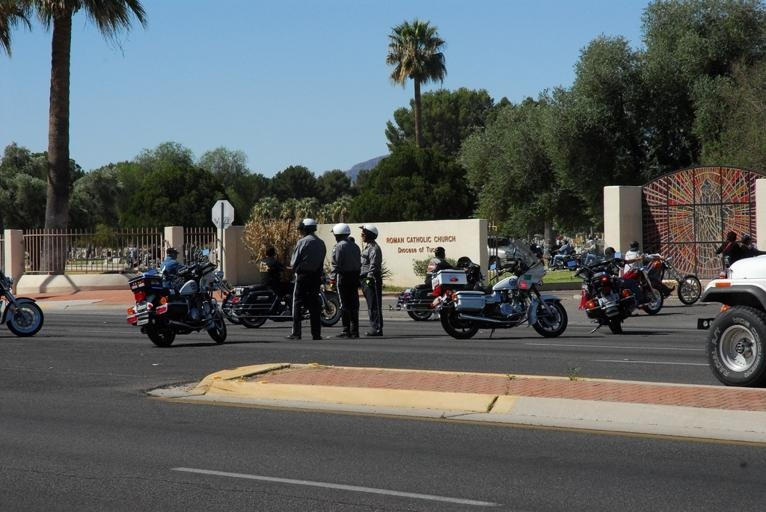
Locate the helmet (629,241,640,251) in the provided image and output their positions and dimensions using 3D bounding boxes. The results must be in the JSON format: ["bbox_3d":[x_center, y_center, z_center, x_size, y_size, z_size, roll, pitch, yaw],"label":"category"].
[{"bbox_3d":[7.119,-0.284,24.436,0.230,0.287,0.296,3,11,15],"label":"helmet"}]

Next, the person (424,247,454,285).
[{"bbox_3d":[1.418,0.285,21.253,0.664,0.998,0.725,0,0,-20],"label":"person"}]

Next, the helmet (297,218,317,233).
[{"bbox_3d":[-1.699,-0.691,19.085,0.283,0.356,0.355,-8,12,-42],"label":"helmet"}]

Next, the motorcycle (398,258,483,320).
[{"bbox_3d":[1.762,0.824,23.484,2.681,1.720,1.145,-6,0,-17],"label":"motorcycle"}]

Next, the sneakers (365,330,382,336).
[{"bbox_3d":[-0.185,1.759,19.496,0.328,0.166,0.140,4,7,-5],"label":"sneakers"}]

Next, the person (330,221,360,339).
[{"bbox_3d":[-0.801,0.539,19.325,0.607,2.508,0.789,-1,5,-1],"label":"person"}]

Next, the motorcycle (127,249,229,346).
[{"bbox_3d":[-4.400,0.882,18.821,1.132,2.034,3.100,-13,-4,19],"label":"motorcycle"}]

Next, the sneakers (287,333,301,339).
[{"bbox_3d":[-1.918,1.748,18.652,0.260,0.127,0.111,5,6,16],"label":"sneakers"}]

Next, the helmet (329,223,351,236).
[{"bbox_3d":[-0.980,-0.590,19.225,0.441,0.406,0.345,3,6,40],"label":"helmet"}]

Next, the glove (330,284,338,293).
[{"bbox_3d":[-1.208,0.828,21.386,0.252,0.212,0.267,-1,7,1],"label":"glove"}]

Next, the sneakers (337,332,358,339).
[{"bbox_3d":[-0.778,1.772,19.196,0.453,0.215,0.179,3,-2,-6],"label":"sneakers"}]

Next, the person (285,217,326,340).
[{"bbox_3d":[-1.642,0.499,18.829,0.785,2.651,0.813,4,-9,-27],"label":"person"}]

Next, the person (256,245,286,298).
[{"bbox_3d":[-2.713,0.392,21.660,0.554,1.247,1.250,-1,5,-8],"label":"person"}]

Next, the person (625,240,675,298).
[{"bbox_3d":[7.741,0.386,24.573,1.075,1.271,1.986,21,-8,-11],"label":"person"}]

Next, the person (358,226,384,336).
[{"bbox_3d":[-0.270,0.566,19.892,0.485,2.470,1.385,-1,5,-2],"label":"person"}]

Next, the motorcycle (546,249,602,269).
[{"bbox_3d":[5.880,0.082,26.992,1.637,1.043,0.935,-1,4,3],"label":"motorcycle"}]

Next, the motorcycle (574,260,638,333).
[{"bbox_3d":[5.100,0.820,19.718,1.034,1.635,2.659,-16,4,12],"label":"motorcycle"}]

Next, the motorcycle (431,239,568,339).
[{"bbox_3d":[2.600,0.746,18.845,2.825,2.100,1.137,1,-8,-11],"label":"motorcycle"}]

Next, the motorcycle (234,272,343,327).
[{"bbox_3d":[-2.374,0.989,21.750,2.899,1.685,1.336,2,2,-25],"label":"motorcycle"}]
